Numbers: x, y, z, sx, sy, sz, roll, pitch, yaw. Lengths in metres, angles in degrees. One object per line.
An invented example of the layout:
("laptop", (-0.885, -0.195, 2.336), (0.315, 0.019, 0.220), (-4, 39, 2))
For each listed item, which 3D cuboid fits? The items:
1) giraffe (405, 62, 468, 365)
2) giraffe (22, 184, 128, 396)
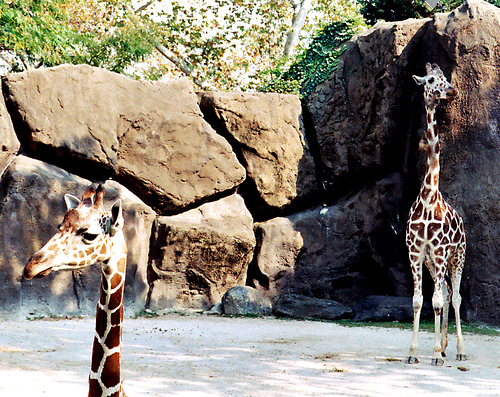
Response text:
("giraffe", (3.641, 0.255, 22.845), (1.182, 5.539, 2.055), (3, 13, 6))
("giraffe", (-2.770, 1.649, 19.731), (1.349, 3.670, 0.989), (0, 13, -7))
